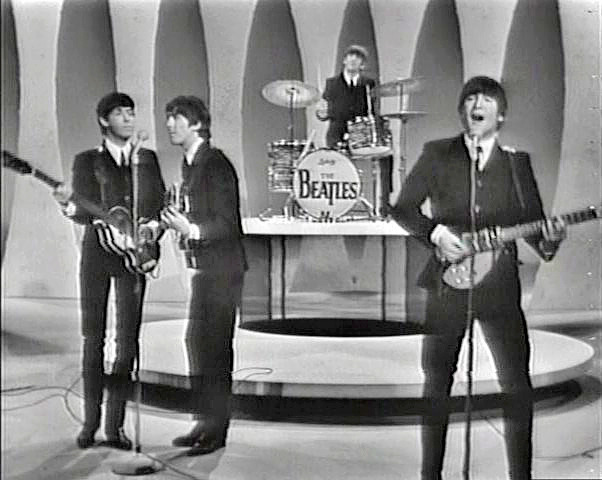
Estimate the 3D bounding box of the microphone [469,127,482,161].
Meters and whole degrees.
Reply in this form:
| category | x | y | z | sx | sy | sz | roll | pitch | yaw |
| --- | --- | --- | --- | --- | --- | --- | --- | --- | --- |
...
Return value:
| category | x | y | z | sx | sy | sz | roll | pitch | yaw |
| --- | --- | --- | --- | --- | --- | --- | --- | --- | --- |
| microphone | 0.726 | -0.385 | 3.419 | 0.053 | 0.124 | 0.012 | -1 | 2 | -11 |

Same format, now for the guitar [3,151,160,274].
| category | x | y | z | sx | sy | sz | roll | pitch | yaw |
| --- | --- | --- | --- | --- | --- | --- | --- | --- | --- |
| guitar | -0.892 | -0.108 | 3.478 | 0.797 | 0.359 | 0.094 | 29 | -7 | -7 |

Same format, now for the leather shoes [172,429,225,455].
| category | x | y | z | sx | sy | sz | roll | pitch | yaw |
| --- | --- | --- | --- | --- | --- | --- | --- | --- | --- |
| leather shoes | -0.429 | 0.858 | 3.456 | 0.169 | 0.062 | 0.107 | 5 | -9 | -9 |

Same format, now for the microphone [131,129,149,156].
| category | x | y | z | sx | sy | sz | roll | pitch | yaw |
| --- | --- | --- | --- | --- | --- | --- | --- | --- | --- |
| microphone | -0.664 | -0.406 | 3.434 | 0.063 | 0.102 | 0.029 | 26 | 0 | 6 |
